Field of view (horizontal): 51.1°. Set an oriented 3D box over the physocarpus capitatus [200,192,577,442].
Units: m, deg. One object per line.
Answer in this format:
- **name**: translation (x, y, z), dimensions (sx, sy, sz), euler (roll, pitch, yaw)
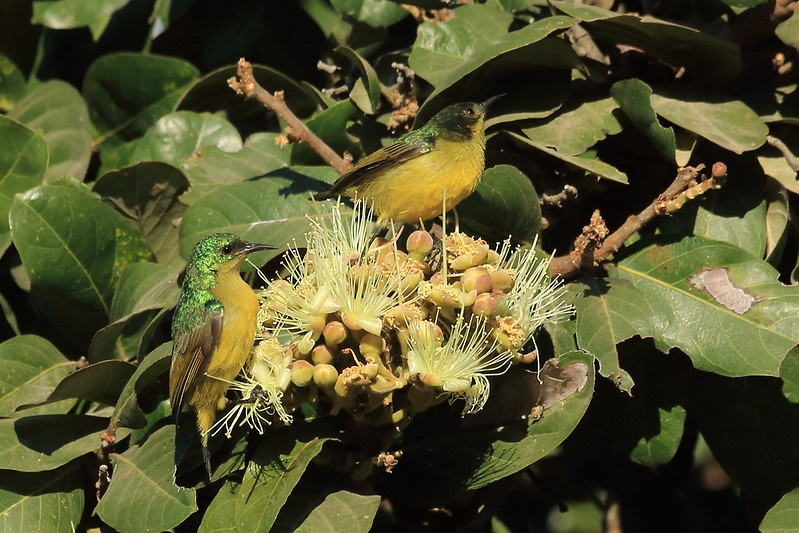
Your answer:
- **physocarpus capitatus**: translation (-0.059, 0.161, 4.014), dimensions (1.146, 0.801, 1.173), euler (-1, 20, -6)
